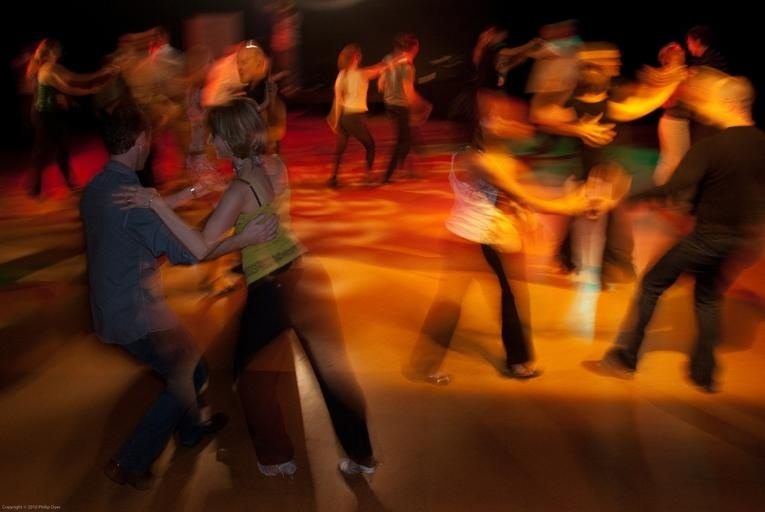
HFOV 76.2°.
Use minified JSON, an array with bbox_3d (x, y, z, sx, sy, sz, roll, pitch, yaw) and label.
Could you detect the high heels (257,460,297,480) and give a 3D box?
[{"bbox_3d":[-0.654,1.330,3.050,0.226,0.110,0.063,-4,21,-12],"label":"high heels"}]
